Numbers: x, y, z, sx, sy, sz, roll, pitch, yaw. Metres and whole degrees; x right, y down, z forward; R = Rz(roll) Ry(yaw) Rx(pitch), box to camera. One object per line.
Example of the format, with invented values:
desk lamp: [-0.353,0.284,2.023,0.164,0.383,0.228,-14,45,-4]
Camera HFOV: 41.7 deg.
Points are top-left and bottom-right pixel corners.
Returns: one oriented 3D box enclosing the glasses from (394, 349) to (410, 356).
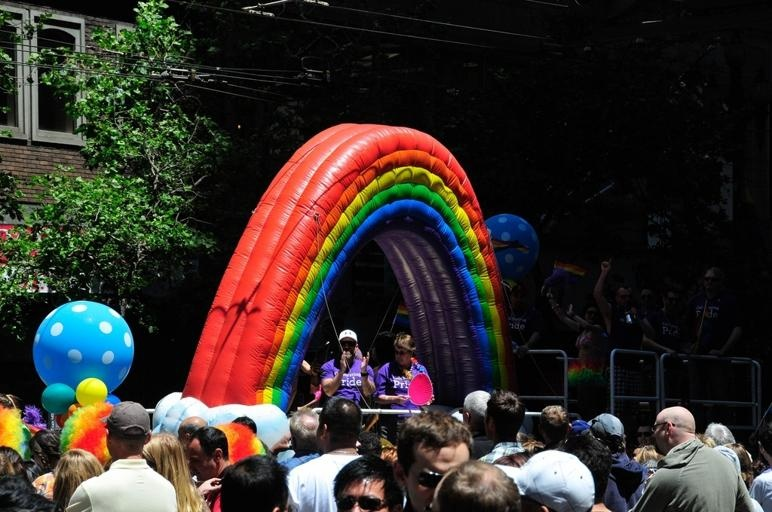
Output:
glasses: [0.234,1.437,15.033,0.225,0.097,0.128,3,-9,15]

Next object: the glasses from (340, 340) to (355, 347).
glasses: [-0.544,1.233,14.554,0.145,0.104,0.235,5,4,0]

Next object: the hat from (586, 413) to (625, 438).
hat: [2.549,1.973,11.630,0.332,0.284,0.258,-4,9,0]

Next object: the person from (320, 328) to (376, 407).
person: [-0.602,1.699,15.301,0.873,1.482,0.852,5,-43,-8]
